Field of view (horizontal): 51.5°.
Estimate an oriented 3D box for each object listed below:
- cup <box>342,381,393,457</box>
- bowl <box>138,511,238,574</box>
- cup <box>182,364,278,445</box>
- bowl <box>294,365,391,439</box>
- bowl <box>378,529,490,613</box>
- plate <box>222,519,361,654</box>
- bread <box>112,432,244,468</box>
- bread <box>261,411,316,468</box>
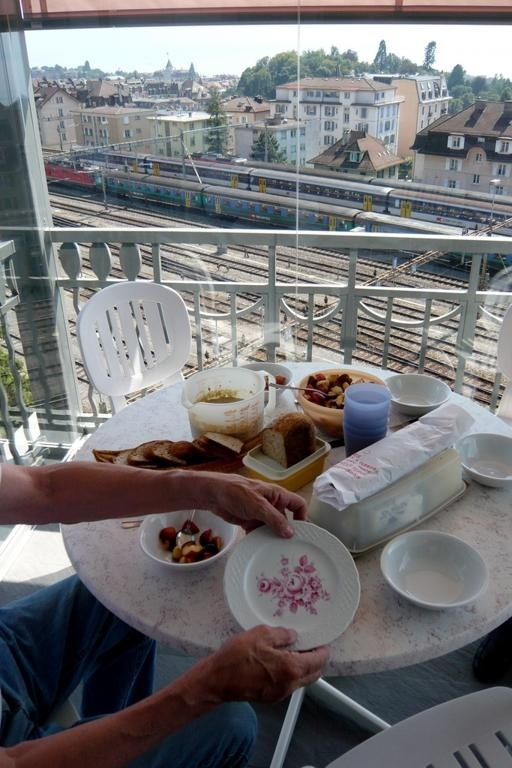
[{"bbox_3d":[0.175,0.057,0.840,0.070,0.109,0.070,0,36,0],"label":"cup"},{"bbox_3d":[-0.076,0.226,0.719,0.098,0.031,0.101,-11,14,3],"label":"bowl"},{"bbox_3d":[-0.038,0.040,0.990,0.154,0.109,0.121,-19,43,-21],"label":"cup"},{"bbox_3d":[0.140,0.026,1.030,0.141,0.082,0.142,-3,34,2],"label":"bowl"},{"bbox_3d":[0.212,0.231,0.643,0.121,0.036,0.129,-1,24,0],"label":"bowl"},{"bbox_3d":[0.040,0.234,0.632,0.156,0.025,0.192,-3,24,-4],"label":"plate"},{"bbox_3d":[-0.131,0.116,0.892,0.157,0.028,0.086,-1,22,0],"label":"bread"},{"bbox_3d":[0.056,0.085,0.818,0.084,0.080,0.084,0,26,8],"label":"bread"}]
